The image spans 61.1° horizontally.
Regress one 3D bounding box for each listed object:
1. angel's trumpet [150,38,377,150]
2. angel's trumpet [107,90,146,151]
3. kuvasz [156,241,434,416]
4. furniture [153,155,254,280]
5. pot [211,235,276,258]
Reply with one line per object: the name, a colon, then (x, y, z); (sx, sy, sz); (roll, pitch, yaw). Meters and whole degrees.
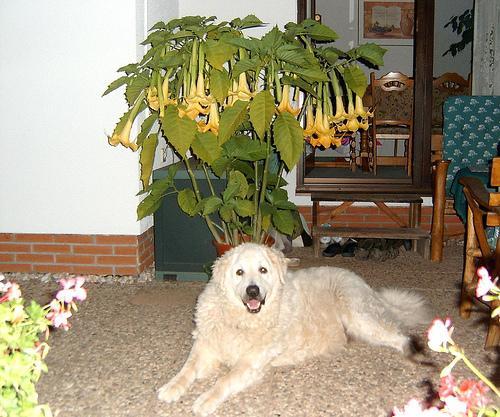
angel's trumpet: (0.356, -0.903, 3.192); (1.407, 0.542, 1.463); (12, 23, 36)
angel's trumpet: (-0.924, -0.655, 3.184); (0.275, 0.446, 0.351); (-5, 13, -19)
kuvasz: (0.302, 0.522, 2.698); (0.820, 0.595, 1.439); (3, 17, 42)
furniture: (-0.489, -0.147, 4.496); (0.826, 1.321, 1.301); (0, 18, -1)
pot: (-0.078, 0.313, 3.602); (0.298, 0.118, 0.296); (-2, 9, 0)
